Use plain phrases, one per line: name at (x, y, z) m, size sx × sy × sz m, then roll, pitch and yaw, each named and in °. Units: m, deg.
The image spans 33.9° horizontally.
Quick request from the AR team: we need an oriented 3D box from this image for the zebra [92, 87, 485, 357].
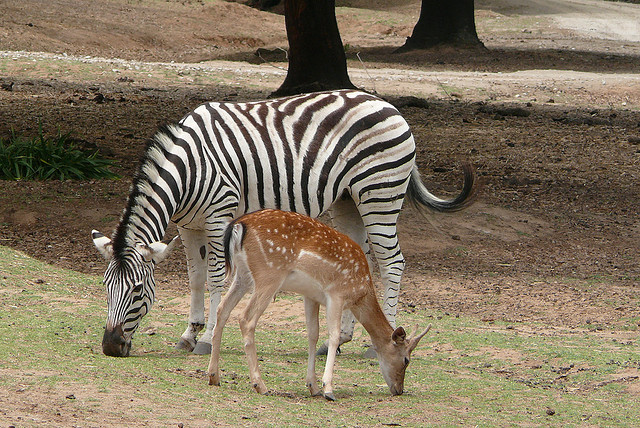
zebra at (-1.093, 0.082, 16.638) m, size 4.728 × 4.182 × 1.493 m, roll 1°, pitch 17°, yaw -22°
